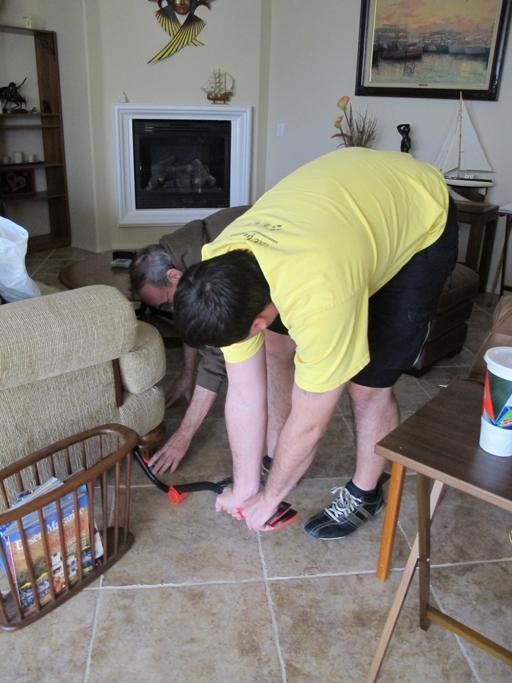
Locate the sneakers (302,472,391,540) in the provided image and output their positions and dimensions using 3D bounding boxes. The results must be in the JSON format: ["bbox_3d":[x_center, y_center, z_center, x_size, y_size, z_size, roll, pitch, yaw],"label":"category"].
[{"bbox_3d":[0.263,0.463,1.513,0.285,0.111,0.097,-13,28,-32],"label":"sneakers"}]

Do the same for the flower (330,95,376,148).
[{"bbox_3d":[0.771,-1.695,4.181,0.332,0.368,0.332,5,26,5],"label":"flower"}]

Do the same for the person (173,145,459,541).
[{"bbox_3d":[0.100,0.062,1.176,0.384,0.801,0.676,25,38,36],"label":"person"}]
